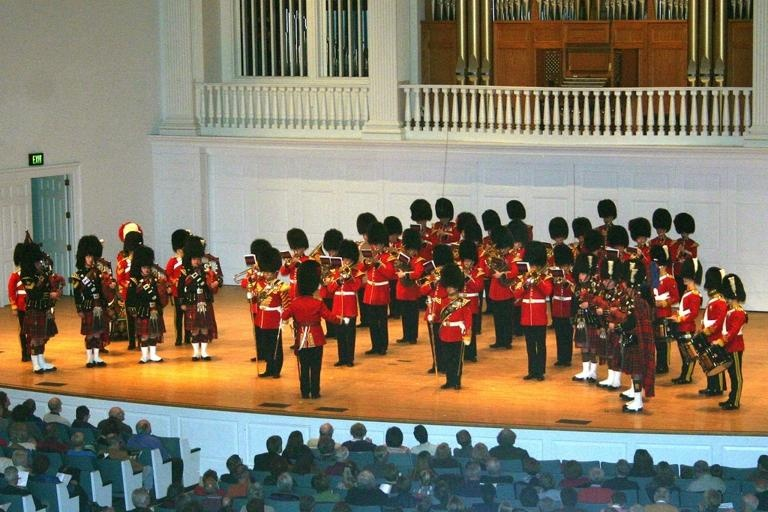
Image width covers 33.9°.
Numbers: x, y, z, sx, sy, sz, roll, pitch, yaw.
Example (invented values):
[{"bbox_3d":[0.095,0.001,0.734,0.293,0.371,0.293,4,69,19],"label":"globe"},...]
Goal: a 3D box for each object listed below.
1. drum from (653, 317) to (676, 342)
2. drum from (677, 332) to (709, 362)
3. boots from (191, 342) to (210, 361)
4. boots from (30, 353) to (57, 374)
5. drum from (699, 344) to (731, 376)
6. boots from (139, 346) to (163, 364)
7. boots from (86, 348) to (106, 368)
[{"bbox_3d":[3.910,1.010,17.517,0.340,0.328,0.252,2,-3,-43],"label":"drum"},{"bbox_3d":[4.166,1.206,16.844,0.370,0.280,0.332,1,-3,4],"label":"drum"},{"bbox_3d":[-2.763,1.437,19.105,0.371,0.267,0.171,-1,0,25],"label":"boots"},{"bbox_3d":[-5.118,1.560,18.632,0.472,0.341,0.201,-1,7,-3],"label":"boots"},{"bbox_3d":[4.474,1.359,16.856,0.391,0.379,0.422,4,47,22],"label":"drum"},{"bbox_3d":[-3.556,1.465,18.977,0.455,0.313,0.175,-3,8,-13],"label":"boots"},{"bbox_3d":[-4.368,1.511,18.901,0.392,0.294,0.183,-2,5,-22],"label":"boots"}]
